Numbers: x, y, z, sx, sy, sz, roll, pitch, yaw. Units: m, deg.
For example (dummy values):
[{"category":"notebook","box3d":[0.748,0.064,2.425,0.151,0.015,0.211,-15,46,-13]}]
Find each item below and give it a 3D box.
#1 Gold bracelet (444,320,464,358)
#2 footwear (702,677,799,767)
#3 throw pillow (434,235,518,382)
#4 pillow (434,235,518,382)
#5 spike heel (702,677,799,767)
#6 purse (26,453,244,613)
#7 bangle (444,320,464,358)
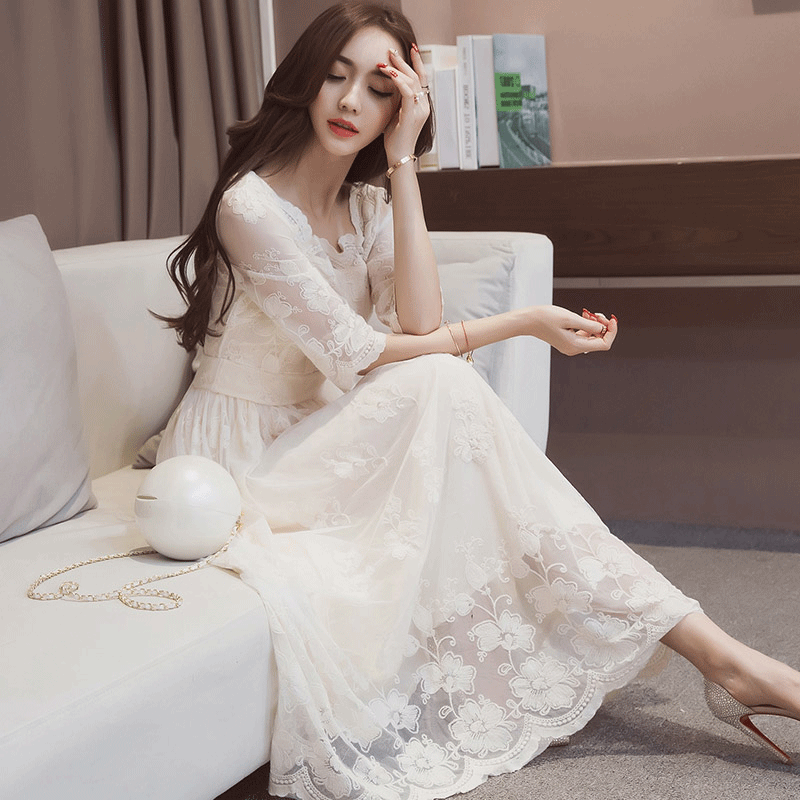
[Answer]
[{"category":"Gold bracelet","box3d":[0.102,-0.116,1.588,0.016,0.060,0.048,-29,-1,4]},{"category":"footwear","box3d":[0.556,0.507,1.318,0.196,0.052,0.059,36,-3,7]},{"category":"throw pillow","box3d":[0.166,-0.209,1.844,0.263,0.253,0.113,-7,0,-38]},{"category":"pillow","box3d":[0.170,-0.208,1.840,0.263,0.253,0.113,-7,0,-38]},{"category":"spike heel","box3d":[0.556,0.507,1.318,0.196,0.052,0.059,36,-3,7]},{"category":"purse","box3d":[-0.358,0.172,1.205,0.174,0.118,0.253,13,16,15]},{"category":"bangle","box3d":[0.102,-0.116,1.588,0.016,0.060,0.048,-29,-1,4]}]
